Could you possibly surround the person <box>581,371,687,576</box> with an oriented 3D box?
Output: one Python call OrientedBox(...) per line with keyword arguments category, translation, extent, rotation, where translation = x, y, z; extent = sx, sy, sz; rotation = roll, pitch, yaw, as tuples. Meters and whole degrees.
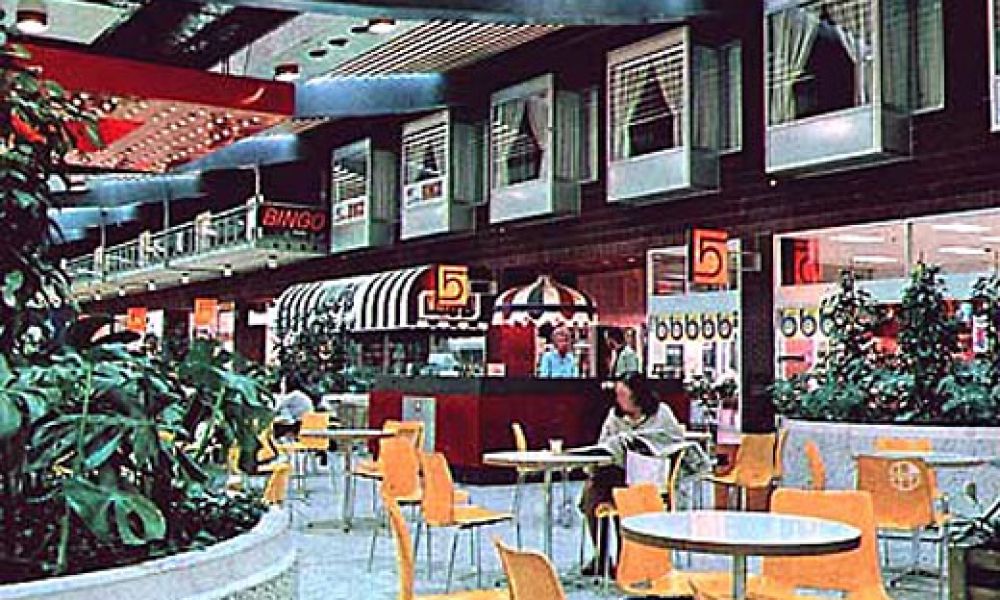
OrientedBox(category="person", translation=(1.275, 1.659, 10.888), extent=(0.981, 1.896, 0.395), rotation=(0, -5, -2))
